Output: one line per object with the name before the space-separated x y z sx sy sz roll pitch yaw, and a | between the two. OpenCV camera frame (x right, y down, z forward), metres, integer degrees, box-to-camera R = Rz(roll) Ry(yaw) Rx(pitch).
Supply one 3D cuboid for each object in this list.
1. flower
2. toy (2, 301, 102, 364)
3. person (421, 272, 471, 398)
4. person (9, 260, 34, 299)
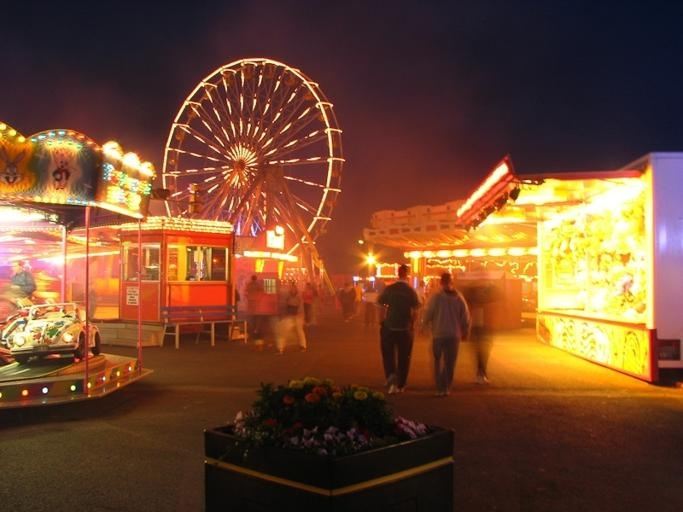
flower | -0.004 1.231 4.868 1.100 0.323 0.985 25 -15 -32
toy | -5.381 1.440 11.004 1.138 0.885 1.904 -1 -7 -16
person | 1.792 1.290 9.761 0.758 2.046 0.716 -3 0 12
person | -8.213 0.618 14.790 0.501 0.857 1.204 -3 0 -30
